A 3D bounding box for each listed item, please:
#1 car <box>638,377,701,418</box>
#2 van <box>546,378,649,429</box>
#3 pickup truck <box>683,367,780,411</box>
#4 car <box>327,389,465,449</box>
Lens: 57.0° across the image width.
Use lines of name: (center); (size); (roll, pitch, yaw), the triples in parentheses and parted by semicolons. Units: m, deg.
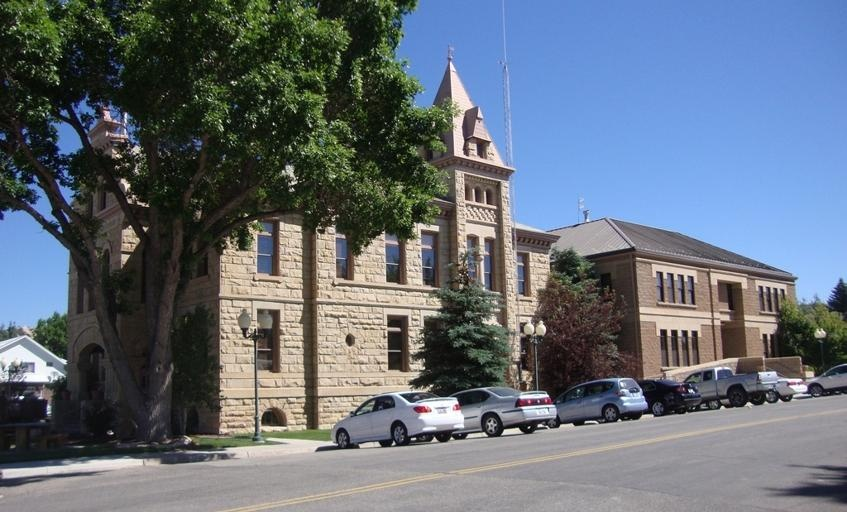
car: (13.029, 7.578, 41.671); (1.872, 1.592, 4.621); (4, -7, -42)
van: (8.473, 7.132, 38.406); (4.297, 1.761, 2.591); (-5, -9, 32)
pickup truck: (17.683, 7.471, 44.711); (4.654, 2.355, 2.150); (-4, -15, 9)
car: (-0.984, 6.614, 31.293); (2.591, 2.161, 6.175); (5, -8, -44)
